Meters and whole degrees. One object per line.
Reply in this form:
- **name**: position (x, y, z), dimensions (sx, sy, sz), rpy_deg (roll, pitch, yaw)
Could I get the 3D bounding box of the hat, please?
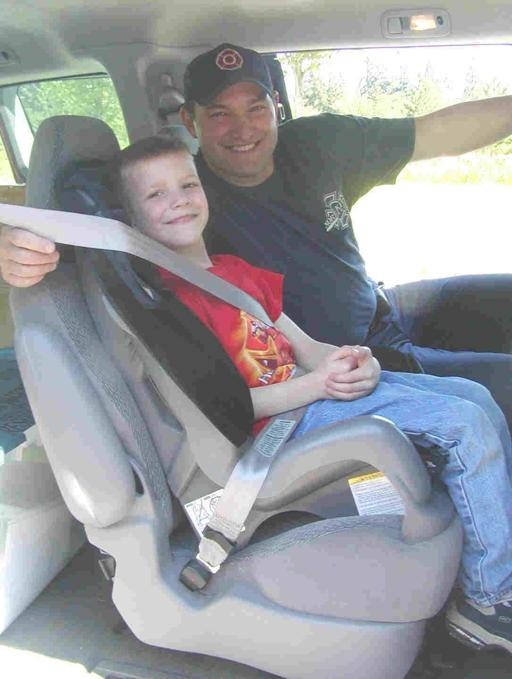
- **hat**: position (-0.053, -0.455, 1.002), dimensions (0.141, 0.068, 0.124), rpy_deg (-18, 50, -12)
